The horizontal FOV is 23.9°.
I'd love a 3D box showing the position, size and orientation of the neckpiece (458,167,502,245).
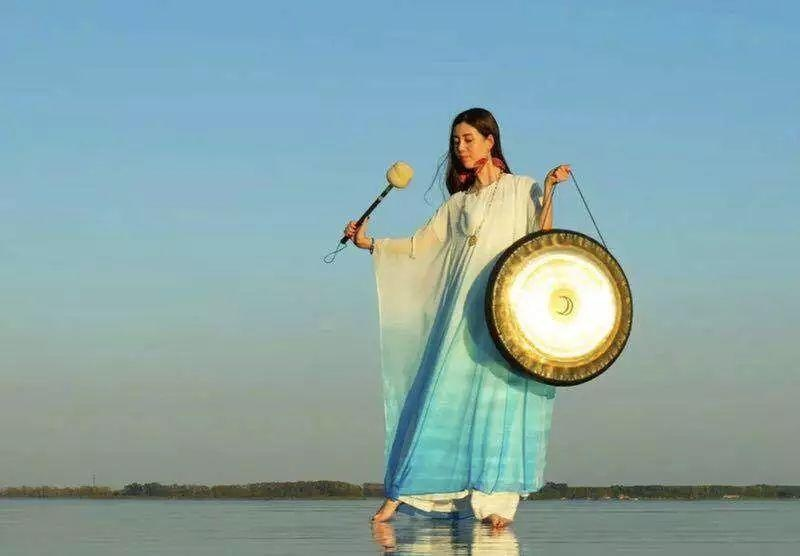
[{"bbox_3d":[0.673,-0.528,15.021,0.149,0.647,0.045,14,0,25],"label":"neckpiece"}]
